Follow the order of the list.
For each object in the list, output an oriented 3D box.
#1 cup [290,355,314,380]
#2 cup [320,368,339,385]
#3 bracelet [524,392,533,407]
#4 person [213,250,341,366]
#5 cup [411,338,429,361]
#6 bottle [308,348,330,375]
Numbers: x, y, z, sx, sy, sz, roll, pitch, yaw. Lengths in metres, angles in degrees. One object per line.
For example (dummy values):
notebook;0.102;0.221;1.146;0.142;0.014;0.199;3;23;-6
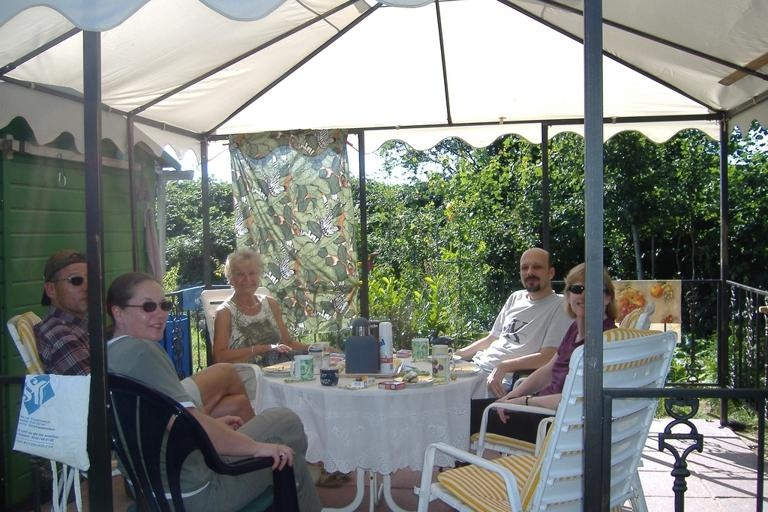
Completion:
cup;-0.557;0.750;4.698;0.103;0.159;0.167;2;2;33
cup;-0.354;0.784;4.598;0.097;0.085;0.107;-1;3;-14
bracelet;0.971;0.966;4.752;0.045;0.072;0.062;7;5;42
person;-0.997;0.526;5.989;0.906;1.236;0.965;-6;7;-39
cup;0.271;0.670;5.145;0.136;0.166;0.139;1;3;0
bottle;-0.467;0.727;4.891;0.131;0.184;0.173;2;1;21
